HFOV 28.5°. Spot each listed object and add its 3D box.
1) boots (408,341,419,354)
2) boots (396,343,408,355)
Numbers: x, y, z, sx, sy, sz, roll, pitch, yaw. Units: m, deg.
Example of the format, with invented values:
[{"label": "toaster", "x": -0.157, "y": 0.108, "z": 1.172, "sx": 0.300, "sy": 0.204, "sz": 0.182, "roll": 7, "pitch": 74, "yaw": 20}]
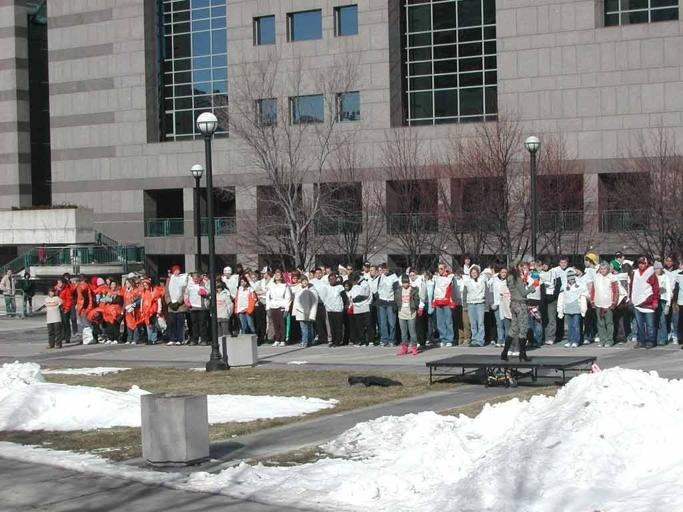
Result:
[{"label": "boots", "x": 2.309, "y": 2.989, "z": 43.266, "sx": 0.255, "sy": 0.354, "sz": 0.366, "roll": 3, "pitch": 6, "yaw": 21}, {"label": "boots", "x": 2.034, "y": 3.079, "z": 43.736, "sx": 0.182, "sy": 0.344, "sz": 0.506, "roll": -1, "pitch": -6, "yaw": 29}]
